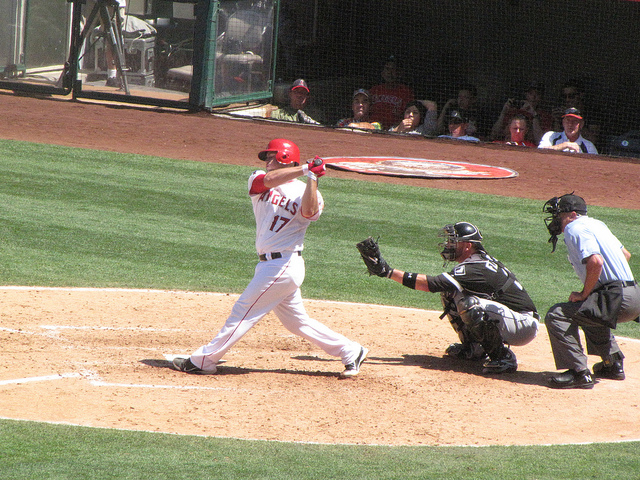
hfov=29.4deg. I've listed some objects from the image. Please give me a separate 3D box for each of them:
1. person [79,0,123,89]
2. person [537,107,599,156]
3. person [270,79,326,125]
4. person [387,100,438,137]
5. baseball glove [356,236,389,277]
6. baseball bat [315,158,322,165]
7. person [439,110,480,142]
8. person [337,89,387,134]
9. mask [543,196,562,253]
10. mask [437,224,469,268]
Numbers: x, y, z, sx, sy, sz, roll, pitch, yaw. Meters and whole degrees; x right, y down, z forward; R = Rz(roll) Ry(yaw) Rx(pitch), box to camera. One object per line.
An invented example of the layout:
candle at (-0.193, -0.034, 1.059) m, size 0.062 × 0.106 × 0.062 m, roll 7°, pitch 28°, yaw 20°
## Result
person at (-3.698, -3.332, 20.726) m, size 0.850 × 1.449 × 0.338 m, roll 7°, pitch 8°, yaw -2°
person at (4.058, -1.728, 19.441) m, size 0.904 × 0.701 × 1.242 m, roll 6°, pitch 7°, yaw -1°
person at (-0.432, -2.531, 22.655) m, size 1.568 × 0.693 × 0.592 m, roll 7°, pitch -11°, yaw -1°
person at (1.720, -2.153, 21.509) m, size 0.843 × 0.611 × 2.031 m, roll 7°, pitch 7°, yaw 5°
baseball glove at (0.697, 0.148, 12.880) m, size 0.429 × 0.390 × 0.181 m, roll 26°, pitch 61°, yaw 40°
baseball bat at (0.000, -0.790, 12.356) m, size 0.087 × 0.051 × 0.031 m, roll -2°, pitch 12°, yaw -45°
person at (2.460, -1.968, 21.044) m, size 0.646 × 0.482 × 1.651 m, roll 7°, pitch 7°, yaw 5°
person at (0.764, -2.225, 21.300) m, size 1.038 × 0.468 × 0.882 m, roll 2°, pitch 5°, yaw 3°
mask at (2.538, -0.217, 13.110) m, size 0.268 × 0.490 × 0.443 m, roll -1°, pitch 5°, yaw 4°
mask at (1.380, 0.055, 13.219) m, size 0.519 × 0.417 × 0.374 m, roll -2°, pitch 8°, yaw -11°
